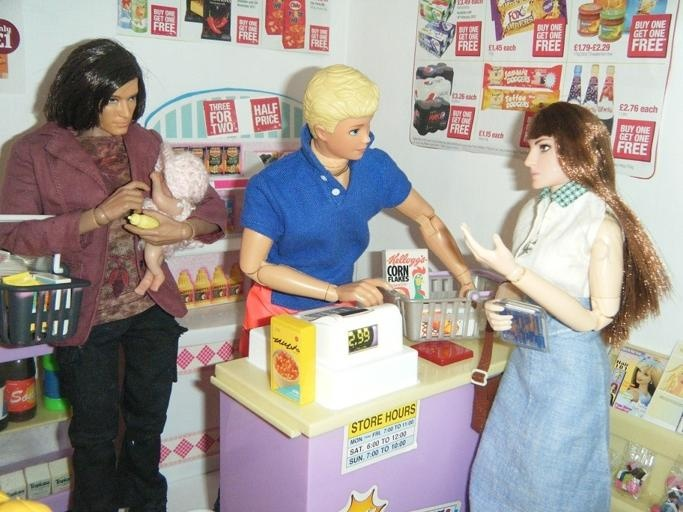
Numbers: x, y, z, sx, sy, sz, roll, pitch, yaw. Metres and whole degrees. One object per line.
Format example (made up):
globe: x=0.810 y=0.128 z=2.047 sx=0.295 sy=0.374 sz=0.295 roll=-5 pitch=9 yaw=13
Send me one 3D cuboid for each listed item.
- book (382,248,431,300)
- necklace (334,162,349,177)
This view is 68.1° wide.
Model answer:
book: x=0.255 y=0.073 z=2.016 sx=0.161 sy=0.230 sz=0.076 roll=-10 pitch=10 yaw=-21
necklace: x=0.004 y=-0.323 z=1.913 sx=0.043 sy=0.055 sz=0.049 roll=-5 pitch=25 yaw=-42
